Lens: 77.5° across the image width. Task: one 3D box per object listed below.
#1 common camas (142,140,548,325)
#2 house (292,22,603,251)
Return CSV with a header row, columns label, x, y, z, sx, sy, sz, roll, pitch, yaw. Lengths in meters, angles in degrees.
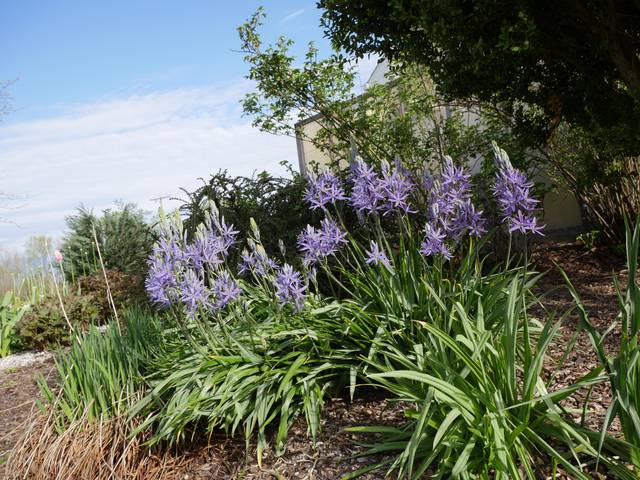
label,x,y,z,sx,sy,sz,roll,pitch,yaw
common camas,0.169,-0.170,4.168,3.061,1.432,2.524,-12,2,10
house,2.063,-1.655,6.093,3.567,2.560,3.821,-4,3,-42
